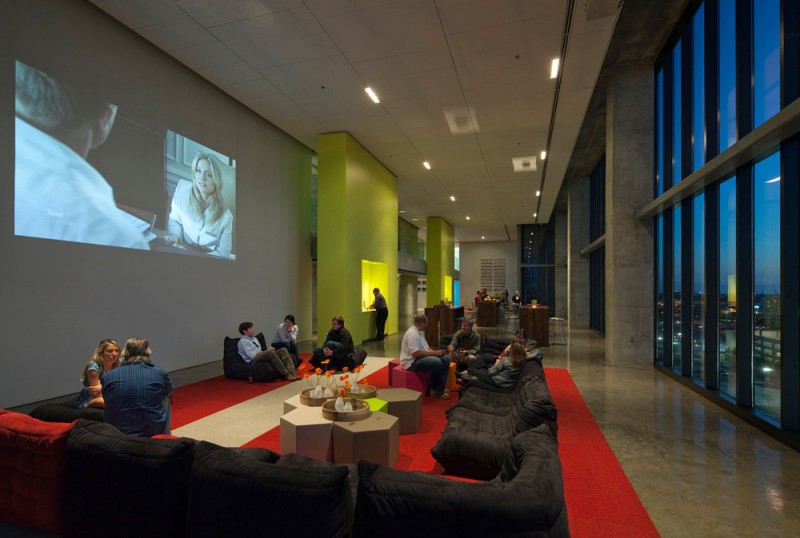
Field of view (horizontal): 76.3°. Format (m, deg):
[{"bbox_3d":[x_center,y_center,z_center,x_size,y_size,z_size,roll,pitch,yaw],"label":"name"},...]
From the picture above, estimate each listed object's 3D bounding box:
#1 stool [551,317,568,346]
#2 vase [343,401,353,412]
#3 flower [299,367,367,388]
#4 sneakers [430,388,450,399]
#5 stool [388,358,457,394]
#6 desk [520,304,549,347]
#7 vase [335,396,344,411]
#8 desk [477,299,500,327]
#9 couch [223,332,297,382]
[{"bbox_3d":[5.553,2.366,17.662,0.627,0.633,1.270,-1,1,17],"label":"stool"},{"bbox_3d":[-0.698,1.842,6.819,0.095,0.140,0.099,0,3,13],"label":"vase"},{"bbox_3d":[-1.227,1.977,9.217,0.760,0.292,0.709,-1,1,-34],"label":"flower"},{"bbox_3d":[0.714,2.208,9.003,0.373,0.261,0.129,-4,-4,6],"label":"sneakers"},{"bbox_3d":[0.148,1.954,8.990,0.665,0.440,0.686,2,0,27],"label":"stool"},{"bbox_3d":[3.600,1.620,14.337,1.129,1.116,0.609,6,-9,-30],"label":"desk"},{"bbox_3d":[-0.803,1.802,6.779,0.136,0.204,0.142,-3,-3,7],"label":"vase"},{"bbox_3d":[3.489,1.798,20.069,0.754,1.033,1.533,1,-1,15],"label":"desk"},{"bbox_3d":[-2.960,1.712,10.216,0.851,0.677,0.963,0,-4,11],"label":"couch"}]
